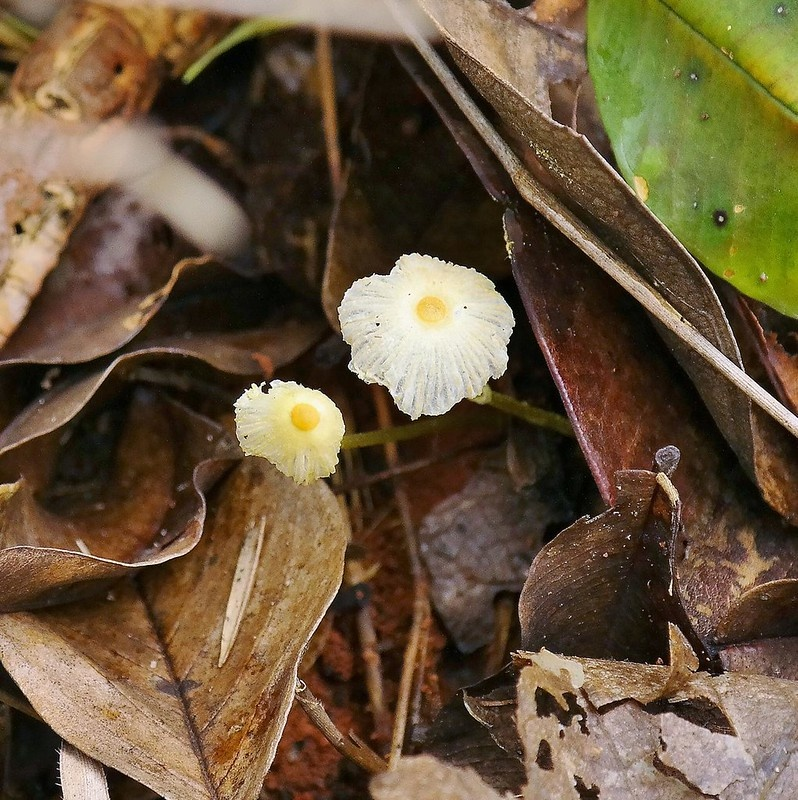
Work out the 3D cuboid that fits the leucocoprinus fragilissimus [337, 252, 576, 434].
[{"bbox_3d":[0.017,-0.077,1.119,0.069,0.136,0.197,-49,11,25],"label":"leucocoprinus fragilissimus"}]
